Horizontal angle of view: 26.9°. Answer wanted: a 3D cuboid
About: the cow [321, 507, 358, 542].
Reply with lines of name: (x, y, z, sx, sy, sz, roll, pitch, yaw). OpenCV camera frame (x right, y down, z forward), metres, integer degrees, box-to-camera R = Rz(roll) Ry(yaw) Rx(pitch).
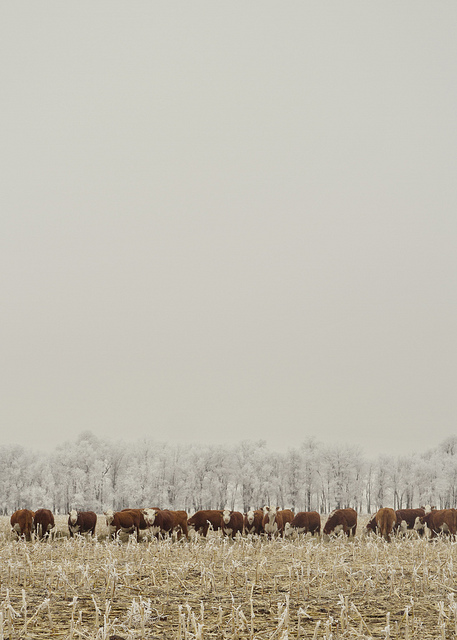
cow: (3.790, 7.013, 32.718, 0.740, 1.075, 2.399, -5, -16, 26)

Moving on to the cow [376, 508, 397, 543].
cow: (5.054, 6.623, 30.587, 0.591, 1.158, 1.912, -1, -14, 9)

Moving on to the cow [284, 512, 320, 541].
cow: (2.529, 7.100, 32.766, 0.879, 0.980, 2.696, -4, -16, 21)

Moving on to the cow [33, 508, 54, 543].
cow: (-6.048, 6.993, 32.349, 0.544, 1.345, 2.211, 1, -9, -7)

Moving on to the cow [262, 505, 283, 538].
cow: (1.512, 6.928, 32.447, 0.647, 1.029, 1.868, -1, -14, 8)

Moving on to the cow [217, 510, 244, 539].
cow: (0.169, 6.962, 32.429, 0.686, 0.877, 1.701, 0, -14, 3)

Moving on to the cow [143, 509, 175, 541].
cow: (-2.273, 6.933, 32.169, 1.129, 0.988, 1.171, 9, -16, -31)

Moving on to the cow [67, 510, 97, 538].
cow: (-5.048, 7.005, 32.864, 0.500, 1.042, 1.677, -1, -8, -1)

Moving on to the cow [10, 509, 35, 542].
cow: (-6.823, 6.876, 31.816, 0.698, 1.410, 2.272, 0, -13, -21)

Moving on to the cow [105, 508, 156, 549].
cow: (-3.542, 7.118, 32.881, 1.659, 1.186, 0.617, 0, -4, 25)
